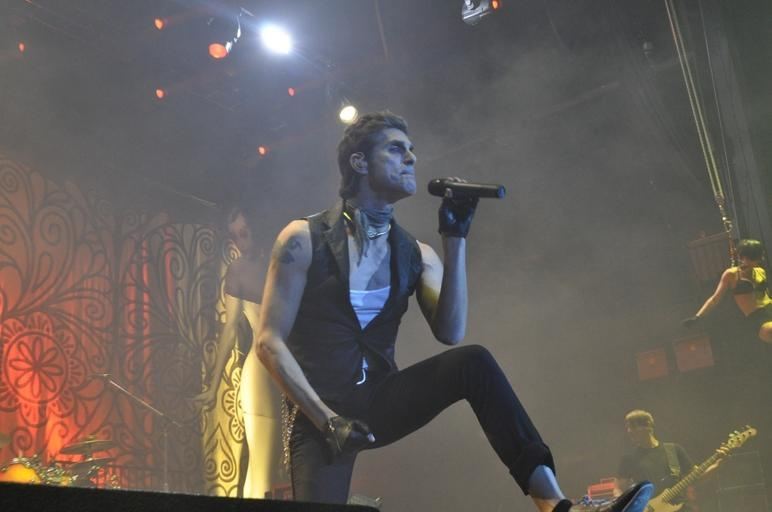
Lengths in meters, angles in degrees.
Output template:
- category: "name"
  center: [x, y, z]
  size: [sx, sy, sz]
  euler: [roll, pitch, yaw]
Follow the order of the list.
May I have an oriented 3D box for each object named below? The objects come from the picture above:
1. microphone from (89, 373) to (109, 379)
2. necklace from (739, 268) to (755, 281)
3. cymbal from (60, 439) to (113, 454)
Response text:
- category: "microphone"
  center: [-3.039, 1.287, 11.114]
  size: [0.192, 0.069, 0.057]
  euler: [9, -33, -25]
- category: "necklace"
  center: [3.989, 0.215, 11.520]
  size: [0.130, 0.104, 0.135]
  euler: [-7, -10, 39]
- category: "cymbal"
  center: [-3.088, 1.995, 10.790]
  size: [0.243, 0.074, 0.254]
  euler: [-11, -23, 10]
